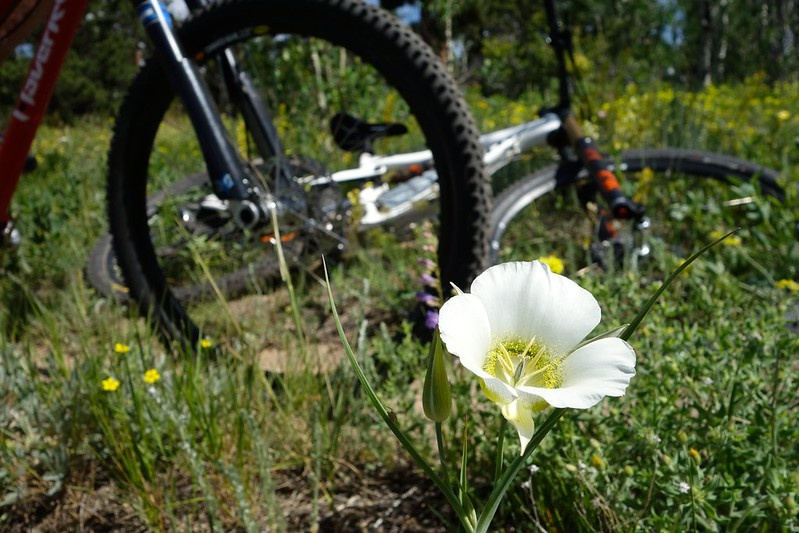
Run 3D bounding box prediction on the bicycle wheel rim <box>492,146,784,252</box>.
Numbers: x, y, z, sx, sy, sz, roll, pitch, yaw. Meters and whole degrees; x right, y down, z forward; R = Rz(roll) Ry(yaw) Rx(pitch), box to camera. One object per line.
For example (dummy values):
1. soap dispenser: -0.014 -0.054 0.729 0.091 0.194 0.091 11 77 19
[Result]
1. bicycle wheel rim: 1.292 -0.484 3.657 0.822 0.206 0.965 3 39 12
